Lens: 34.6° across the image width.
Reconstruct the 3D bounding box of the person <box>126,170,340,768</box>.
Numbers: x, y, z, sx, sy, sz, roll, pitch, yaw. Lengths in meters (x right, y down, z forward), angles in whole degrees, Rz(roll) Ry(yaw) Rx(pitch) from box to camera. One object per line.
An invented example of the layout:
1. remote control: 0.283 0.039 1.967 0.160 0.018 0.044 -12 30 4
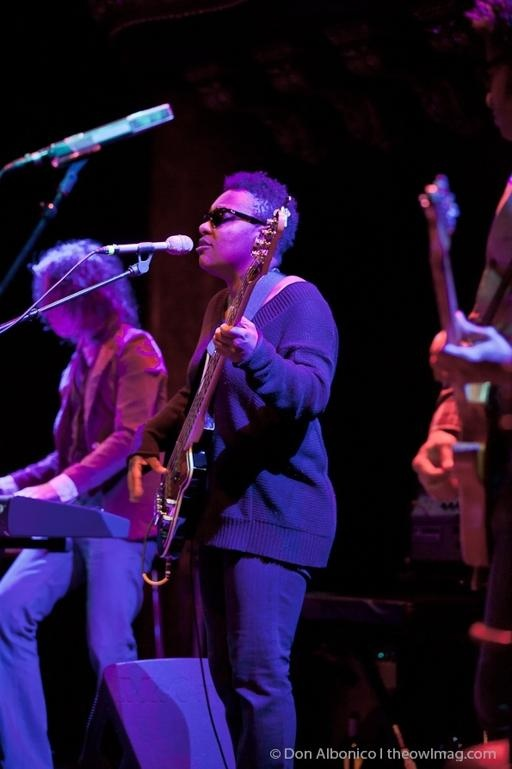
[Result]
1. person: -0.005 0.285 2.064 0.535 1.387 1.010 -9 24 -7
